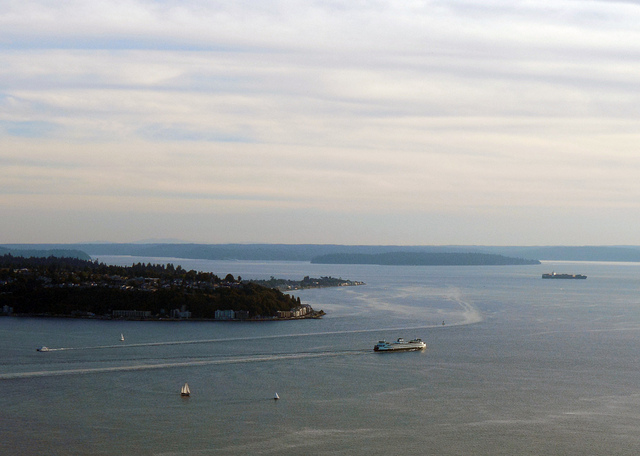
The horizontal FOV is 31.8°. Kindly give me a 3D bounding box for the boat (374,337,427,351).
[{"bbox_3d":[2.032,3.029,29.180,1.062,0.196,0.450,1,-5,-24],"label":"boat"}]
